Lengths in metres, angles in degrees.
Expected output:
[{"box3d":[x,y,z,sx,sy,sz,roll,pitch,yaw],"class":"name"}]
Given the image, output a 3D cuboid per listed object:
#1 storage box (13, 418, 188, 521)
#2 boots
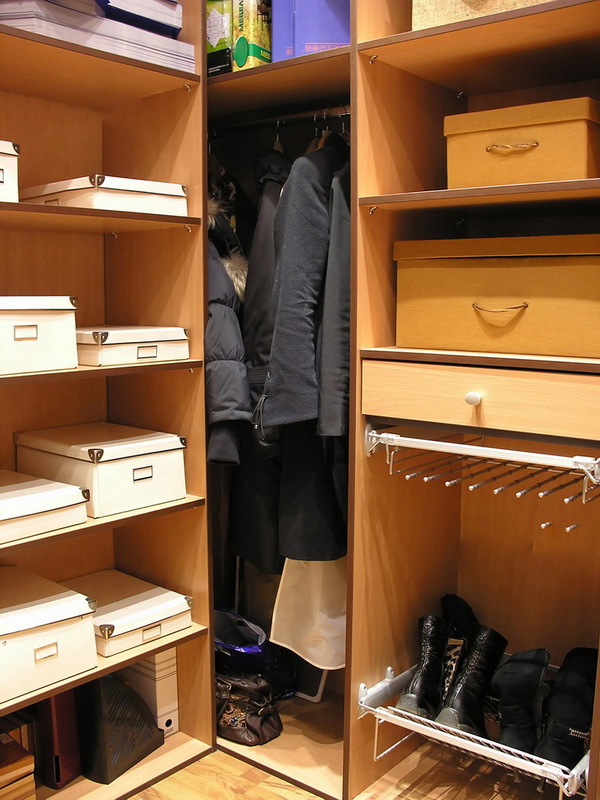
[{"box3d":[-0.468,0.160,1.656,0.239,0.173,0.312,-7,12,-35],"class":"storage box"},{"box3d":[0.467,0.631,1.490,0.261,0.135,0.360,8,-6,25],"class":"boots"}]
